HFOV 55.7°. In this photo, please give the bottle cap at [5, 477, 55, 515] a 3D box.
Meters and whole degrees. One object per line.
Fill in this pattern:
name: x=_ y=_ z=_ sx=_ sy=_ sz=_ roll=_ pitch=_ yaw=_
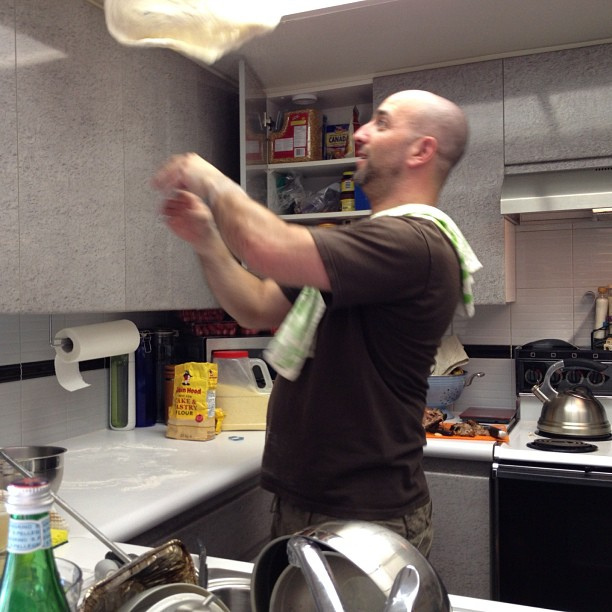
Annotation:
bottle cap: x=-0.180 y=0.123 z=0.382 sx=0.036 sy=0.016 sz=0.031 roll=2 pitch=3 yaw=-5
